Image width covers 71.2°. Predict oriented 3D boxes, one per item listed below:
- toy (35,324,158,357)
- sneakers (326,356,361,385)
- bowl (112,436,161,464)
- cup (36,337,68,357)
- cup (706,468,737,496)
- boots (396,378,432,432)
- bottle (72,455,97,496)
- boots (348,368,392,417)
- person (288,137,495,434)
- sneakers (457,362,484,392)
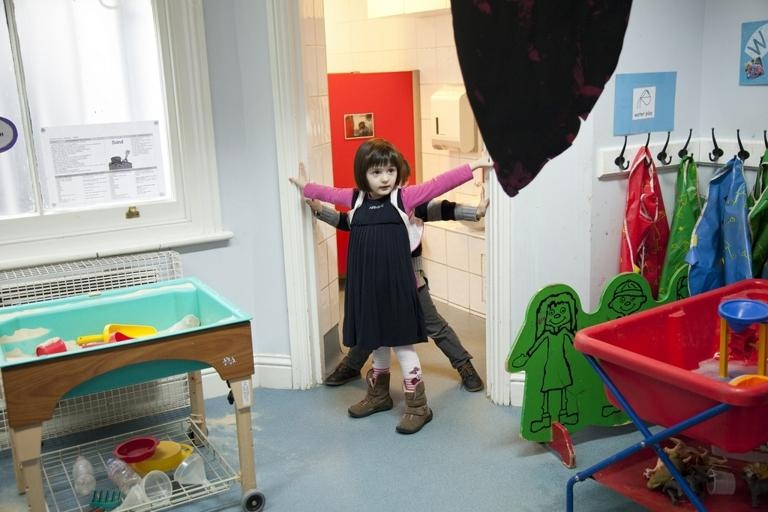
[{"bbox_3d":[-1.157,0.341,2.131,0.234,0.067,0.056,-15,9,-11],"label":"toy"},{"bbox_3d":[-0.200,0.704,3.215,0.285,0.131,0.096,-9,19,-41],"label":"sneakers"},{"bbox_3d":[-1.127,0.883,2.438,0.116,0.028,0.118,-5,19,2],"label":"bowl"},{"bbox_3d":[-1.281,0.355,2.059,0.047,0.036,0.046,11,51,-14],"label":"cup"},{"bbox_3d":[1.253,0.843,1.984,0.069,0.074,0.091,4,-5,-10],"label":"cup"},{"bbox_3d":[0.147,0.785,2.780,0.114,0.244,0.259,-1,9,39],"label":"boots"},{"bbox_3d":[-1.350,0.990,2.406,0.090,0.126,0.207,-16,19,-32],"label":"bottle"},{"bbox_3d":[-0.078,0.750,2.920,0.261,0.229,0.112,-5,7,-28],"label":"boots"},{"bbox_3d":[0.059,0.140,2.765,0.795,1.458,0.520,-5,16,2],"label":"person"},{"bbox_3d":[0.491,0.707,3.113,0.089,0.086,0.212,-32,24,4],"label":"sneakers"}]
